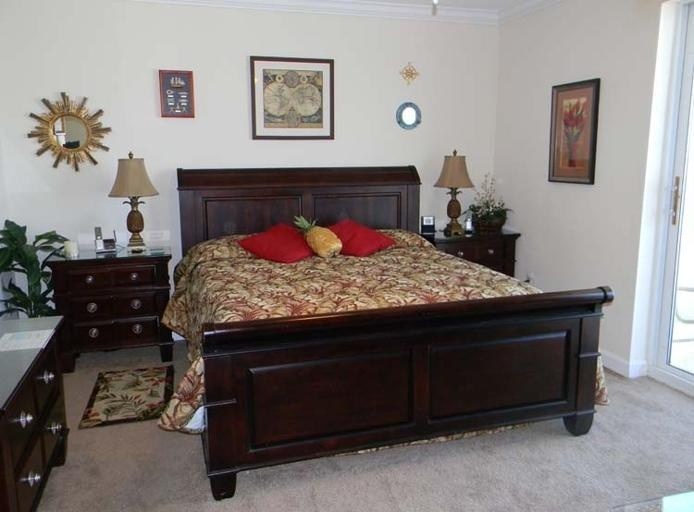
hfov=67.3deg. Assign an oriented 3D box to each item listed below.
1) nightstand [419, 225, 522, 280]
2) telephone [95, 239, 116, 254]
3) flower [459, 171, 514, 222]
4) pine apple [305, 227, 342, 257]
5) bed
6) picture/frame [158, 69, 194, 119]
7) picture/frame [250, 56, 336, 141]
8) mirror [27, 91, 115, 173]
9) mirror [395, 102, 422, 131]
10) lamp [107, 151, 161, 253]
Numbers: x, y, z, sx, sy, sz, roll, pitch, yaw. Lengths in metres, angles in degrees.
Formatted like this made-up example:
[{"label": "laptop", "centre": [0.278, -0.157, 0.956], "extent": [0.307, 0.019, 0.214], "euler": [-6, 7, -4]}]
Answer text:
[{"label": "nightstand", "centre": [1.236, -0.219, 5.224], "extent": [0.721, 0.733, 0.492], "euler": [-6, 14, -22]}, {"label": "telephone", "centre": [-2.087, -0.089, 4.511], "extent": [0.222, 0.158, 0.115], "euler": [-3, 0, -22]}, {"label": "flower", "centre": [1.418, -0.613, 5.381], "extent": [0.452, 0.414, 0.480], "euler": [-2, 10, -8]}, {"label": "pine apple", "centre": [-0.190, -0.108, 4.352], "extent": [0.183, 0.168, 0.311], "euler": [25, 10, -46]}, {"label": "bed", "centre": [0.018, 0.190, 3.975], "extent": [2.404, 1.675, 2.756], "euler": [-7, 13, -19]}, {"label": "picture/frame", "centre": [-1.536, -1.458, 4.629], "extent": [0.407, 0.555, 0.037], "euler": [-2, 8, -19]}, {"label": "picture/frame", "centre": [-0.544, -1.504, 4.884], "extent": [0.761, 0.689, 0.033], "euler": [-3, 8, -19]}, {"label": "mirror", "centre": [-2.406, -1.088, 4.470], "extent": [0.501, 0.536, 0.026], "euler": [39, -10, -29]}, {"label": "mirror", "centre": [0.612, -1.397, 5.200], "extent": [0.271, 0.264, 0.025], "euler": [-6, 13, -16]}, {"label": "lamp", "centre": [-1.836, -0.478, 4.521], "extent": [0.385, 0.821, 0.413], "euler": [-7, 13, -20]}]
